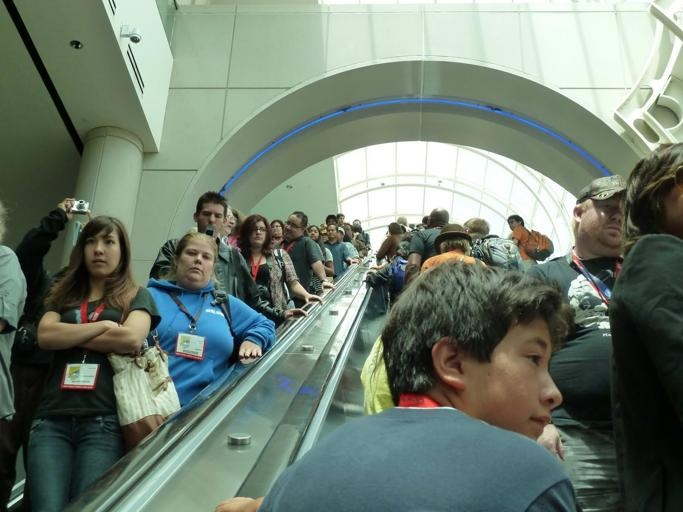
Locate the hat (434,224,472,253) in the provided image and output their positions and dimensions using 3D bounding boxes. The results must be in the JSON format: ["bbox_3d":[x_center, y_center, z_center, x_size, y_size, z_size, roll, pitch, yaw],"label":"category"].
[{"bbox_3d":[1.224,-0.207,5.856,0.373,0.344,0.393,-1,-10,8],"label":"hat"}]

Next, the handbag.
[{"bbox_3d":[-1.216,0.864,3.264,0.360,0.598,0.280,9,-13,-42],"label":"handbag"}]

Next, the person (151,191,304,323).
[{"bbox_3d":[-1.312,0.005,5.922,0.907,1.593,1.457,-33,-34,34],"label":"person"}]

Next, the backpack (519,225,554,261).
[{"bbox_3d":[2.565,-0.137,7.120,0.362,0.225,0.456,-30,30,-19],"label":"backpack"}]
